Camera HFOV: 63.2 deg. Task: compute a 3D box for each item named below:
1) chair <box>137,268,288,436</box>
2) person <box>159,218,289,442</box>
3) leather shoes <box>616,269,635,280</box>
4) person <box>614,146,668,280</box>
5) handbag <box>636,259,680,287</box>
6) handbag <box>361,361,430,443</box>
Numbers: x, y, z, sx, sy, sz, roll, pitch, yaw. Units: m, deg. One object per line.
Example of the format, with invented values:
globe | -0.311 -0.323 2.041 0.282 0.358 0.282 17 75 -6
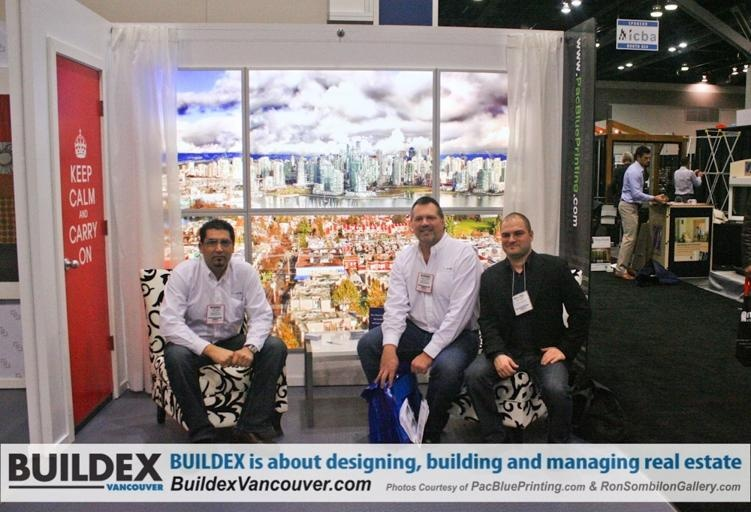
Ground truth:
chair | -1.290 0.741 5.075 1.062 1.568 1.241 2 -4 -30
person | -1.198 0.552 4.641 0.918 1.664 0.924 -1 1 33
leather shoes | 3.900 0.289 9.541 0.113 0.136 0.308 -13 8 -24
person | 4.024 -0.648 9.318 0.652 1.987 0.675 3 9 29
handbag | 4.152 0.230 8.994 0.377 0.244 0.478 1 1 9
handbag | 0.167 1.071 4.680 0.487 0.683 0.566 1 -10 4
